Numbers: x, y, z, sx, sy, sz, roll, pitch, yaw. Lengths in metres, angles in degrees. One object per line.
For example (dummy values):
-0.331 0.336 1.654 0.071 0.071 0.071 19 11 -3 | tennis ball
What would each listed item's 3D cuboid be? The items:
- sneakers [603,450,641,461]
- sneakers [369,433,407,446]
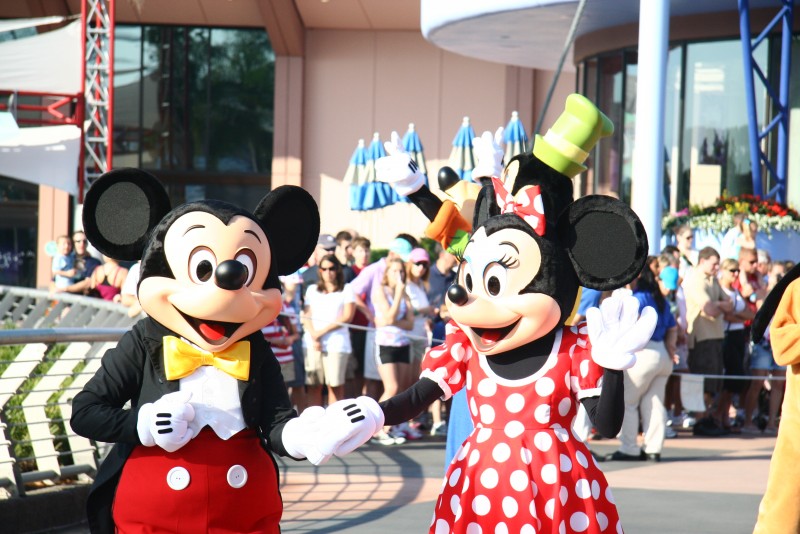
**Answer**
2.600 2.222 16.169 0.417 0.209 0.156 -2 -4 10 | sneakers
-0.124 2.072 16.740 0.477 0.239 0.179 -3 -6 23 | sneakers
